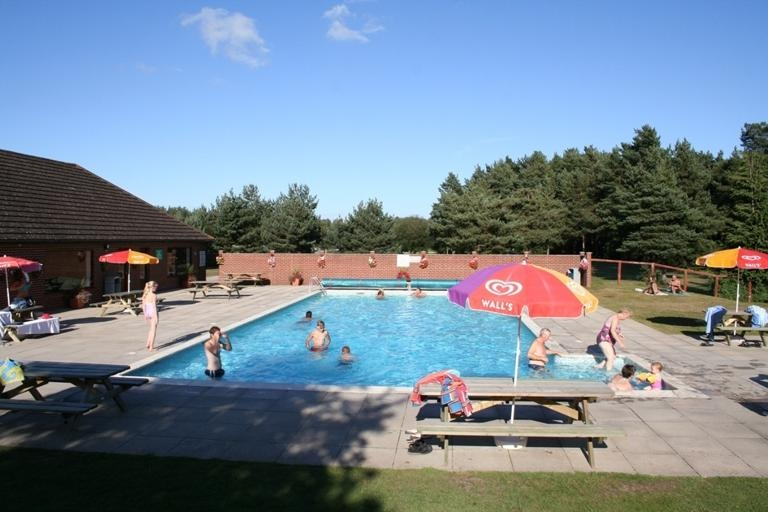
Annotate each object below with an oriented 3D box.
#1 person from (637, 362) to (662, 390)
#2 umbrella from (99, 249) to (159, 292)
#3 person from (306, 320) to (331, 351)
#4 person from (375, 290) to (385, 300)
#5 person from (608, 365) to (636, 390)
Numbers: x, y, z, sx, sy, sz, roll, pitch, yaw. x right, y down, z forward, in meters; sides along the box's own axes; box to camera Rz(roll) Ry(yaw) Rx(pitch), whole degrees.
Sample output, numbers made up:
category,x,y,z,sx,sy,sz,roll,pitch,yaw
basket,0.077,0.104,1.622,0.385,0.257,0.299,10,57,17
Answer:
category,x,y,z,sx,sy,sz,roll,pitch,yaw
person,7.305,3.229,12.149,0.516,0.786,1.137,3,7,21
umbrella,-14.131,0.740,24.338,3.417,2.267,2.973,1,2,0
person,-2.464,2.864,16.221,0.767,1.174,0.600,1,8,10
person,-0.233,2.228,27.240,0.530,0.493,0.940,0,6,-2
person,6.466,3.172,12.056,0.518,0.715,1.227,4,7,28
